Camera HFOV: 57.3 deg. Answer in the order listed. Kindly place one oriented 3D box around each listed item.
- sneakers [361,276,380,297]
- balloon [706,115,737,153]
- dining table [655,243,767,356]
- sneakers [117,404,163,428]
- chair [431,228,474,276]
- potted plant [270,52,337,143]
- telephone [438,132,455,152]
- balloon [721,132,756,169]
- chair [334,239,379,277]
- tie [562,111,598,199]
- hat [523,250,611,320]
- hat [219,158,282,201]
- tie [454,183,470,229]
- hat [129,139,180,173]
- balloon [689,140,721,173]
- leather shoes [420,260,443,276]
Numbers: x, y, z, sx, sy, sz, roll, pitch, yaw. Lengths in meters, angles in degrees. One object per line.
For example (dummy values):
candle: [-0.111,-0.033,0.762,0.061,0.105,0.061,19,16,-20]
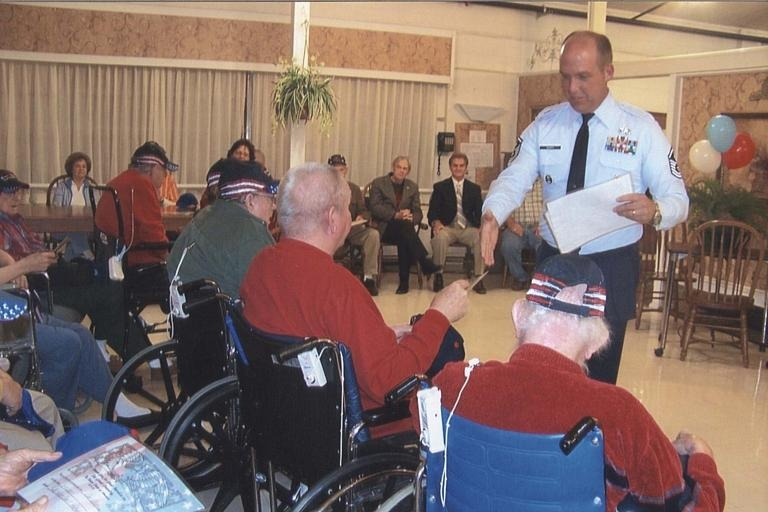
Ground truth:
sneakers: [-0.130,0.344,8.099,0.114,0.156,0.347,-1,1,-14]
balloon: [3.344,-1.202,6.950,0.321,0.359,0.217,-2,14,-14]
dining table: [2.981,0.407,6.365,0.756,1.488,0.931,3,7,12]
sneakers: [-1.561,1.045,4.500,0.148,0.081,0.207,4,8,40]
chair: [0.881,-0.075,8.695,0.466,0.882,0.590,1,-7,0]
potted plant: [-0.735,-1.588,6.713,0.493,0.621,0.588,2,4,-3]
telephone: [0.853,-1.549,9.700,0.245,0.332,0.238,-1,4,-21]
balloon: [3.532,-1.070,7.032,0.268,0.343,0.277,32,11,13]
chair: [-0.285,0.018,8.090,0.355,0.627,0.436,1,-3,-25]
tie: [1.007,-0.527,3.638,0.070,0.431,0.033,7,11,12]
hat: [0.763,0.096,2.931,0.323,0.261,0.484,10,1,12]
hat: [-0.811,-0.449,4.239,0.363,0.215,0.260,-4,15,-29]
tie: [0.995,-0.645,8.866,0.151,0.681,0.055,4,-20,3]
hat: [-1.839,-0.809,5.703,0.374,0.224,0.252,-5,10,-35]
balloon: [3.220,-1.011,7.061,0.232,0.277,0.231,-35,0,20]
leather shoes: [0.564,0.131,8.266,0.271,0.286,0.121,-4,11,1]
